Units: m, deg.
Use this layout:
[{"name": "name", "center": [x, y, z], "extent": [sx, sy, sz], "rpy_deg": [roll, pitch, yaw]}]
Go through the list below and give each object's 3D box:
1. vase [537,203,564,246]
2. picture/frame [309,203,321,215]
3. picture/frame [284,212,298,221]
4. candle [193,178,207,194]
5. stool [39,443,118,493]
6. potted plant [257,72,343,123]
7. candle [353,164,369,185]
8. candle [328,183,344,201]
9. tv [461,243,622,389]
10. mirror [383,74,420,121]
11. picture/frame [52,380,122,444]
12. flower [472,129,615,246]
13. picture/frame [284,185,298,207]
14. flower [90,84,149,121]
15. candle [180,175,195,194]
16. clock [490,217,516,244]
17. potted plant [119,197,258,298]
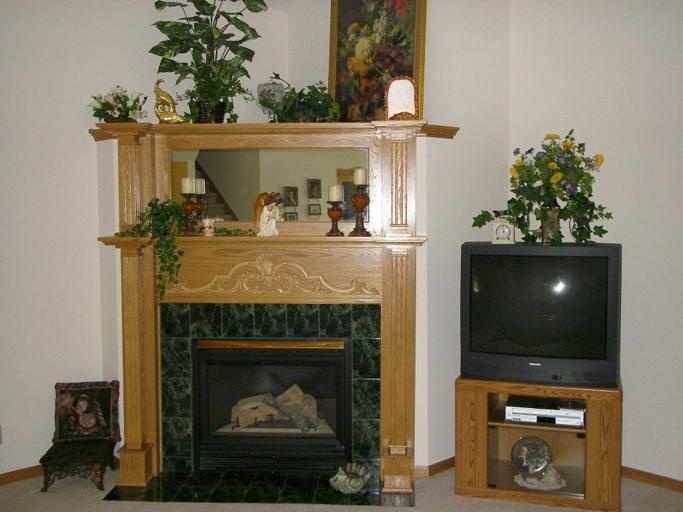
[{"name": "vase", "center": [1.487, -0.225, 5.142], "extent": [0.138, 0.279, 0.132], "rpy_deg": [2, 6, 19]}, {"name": "picture/frame", "center": [-0.200, -0.355, 5.438], "extent": [0.078, 0.077, 0.008], "rpy_deg": [0, 12, 1]}, {"name": "picture/frame", "center": [-0.387, -0.299, 5.452], "extent": [0.066, 0.059, 0.022], "rpy_deg": [0, 6, -2]}, {"name": "candle", "center": [-1.044, -0.513, 5.336], "extent": [0.099, 0.191, 0.101], "rpy_deg": [-2, 9, -8]}, {"name": "stool", "center": [-2.019, 1.584, 5.449], "extent": [0.440, 0.260, 0.562], "rpy_deg": [2, 3, -27]}, {"name": "potted plant", "center": [-0.317, -1.287, 5.558], "extent": [0.598, 0.446, 0.401], "rpy_deg": [1, 24, 13]}, {"name": "candle", "center": [0.134, -0.595, 5.282], "extent": [0.118, 0.142, 0.122], "rpy_deg": [0, 3, 1]}, {"name": "candle", "center": [-0.044, -0.458, 5.294], "extent": [0.106, 0.124, 0.109], "rpy_deg": [-1, 4, -8]}, {"name": "tv", "center": [1.396, 0.365, 5.324], "extent": [1.147, 1.016, 0.641], "rpy_deg": [1, 8, 8]}, {"name": "mirror", "center": [0.436, -1.144, 5.295], "extent": [0.238, 0.317, 0.280], "rpy_deg": [0, 6, 5]}, {"name": "picture/frame", "center": [-1.918, 1.187, 5.462], "extent": [0.444, 0.448, 0.079], "rpy_deg": [-1, -7, 0]}, {"name": "flower", "center": [1.588, -0.513, 5.293], "extent": [0.710, 0.708, 0.760], "rpy_deg": [-7, 24, 0]}, {"name": "picture/frame", "center": [-0.384, -0.458, 5.429], "extent": [0.139, 0.198, 0.019], "rpy_deg": [1, 12, 2]}, {"name": "flower", "center": [-1.698, -1.140, 5.469], "extent": [0.387, 0.306, 0.526], "rpy_deg": [-2, 7, -19]}, {"name": "candle", "center": [-1.130, -0.511, 5.304], "extent": [0.112, 0.132, 0.113], "rpy_deg": [-3, 8, -24]}, {"name": "clock", "center": [1.165, -0.163, 5.306], "extent": [0.248, 0.253, 0.148], "rpy_deg": [0, 2, 12]}, {"name": "potted plant", "center": [-1.339, -0.041, 5.335], "extent": [0.608, 0.745, 0.287], "rpy_deg": [-2, 6, -13]}]
